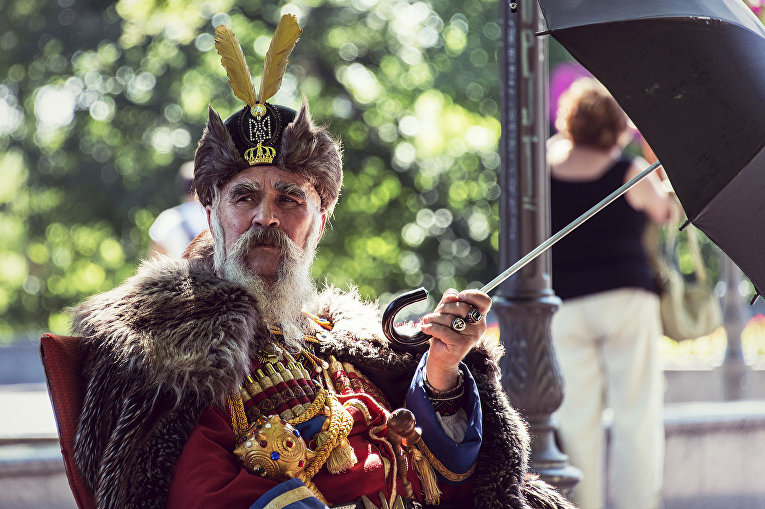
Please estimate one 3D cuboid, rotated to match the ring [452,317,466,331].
[{"bbox_3d":[0.513,0.454,10.002,0.089,0.082,0.023,-1,-8,3],"label":"ring"}]
